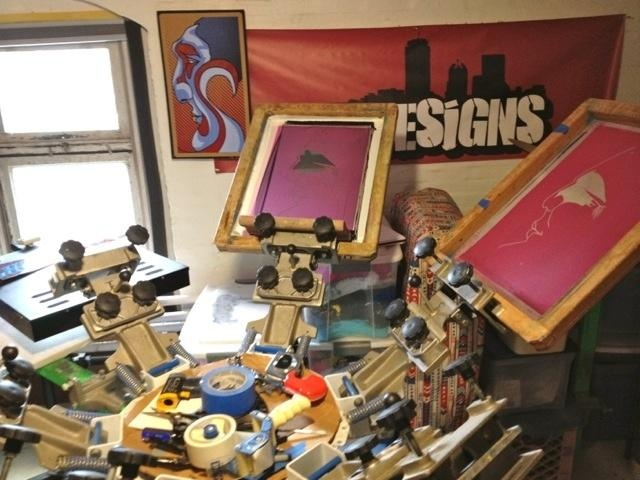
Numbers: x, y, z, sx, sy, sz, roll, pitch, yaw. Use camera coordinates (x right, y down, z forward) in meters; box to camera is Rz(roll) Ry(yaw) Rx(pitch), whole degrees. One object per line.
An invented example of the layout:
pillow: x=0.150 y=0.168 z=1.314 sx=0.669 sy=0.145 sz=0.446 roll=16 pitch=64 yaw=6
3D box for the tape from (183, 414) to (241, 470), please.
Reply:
tape: x=-0.313 y=0.582 z=1.572 sx=0.157 sy=0.089 sz=0.144 roll=-9 pitch=29 yaw=-11

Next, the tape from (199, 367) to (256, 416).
tape: x=-0.286 y=0.457 z=1.698 sx=0.150 sy=0.137 sz=0.151 roll=21 pitch=25 yaw=38
